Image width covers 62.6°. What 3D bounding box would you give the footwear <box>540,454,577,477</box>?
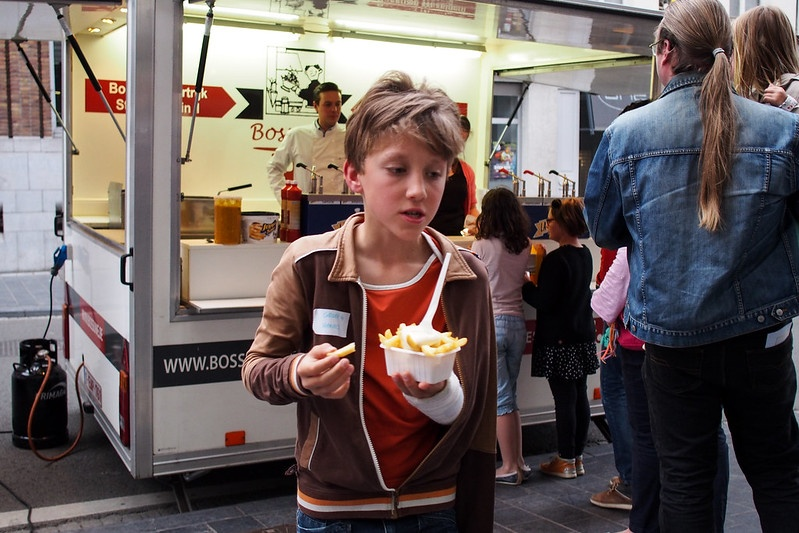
[{"bbox_3d":[1.183,1.492,4.960,0.118,0.116,0.268,-1,4,-38],"label":"footwear"}]

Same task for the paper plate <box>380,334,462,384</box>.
[{"bbox_3d":[0.065,0.276,2.020,0.169,0.074,0.135,2,5,25],"label":"paper plate"}]

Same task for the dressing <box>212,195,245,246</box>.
[{"bbox_3d":[-1.256,-0.332,4.791,0.287,0.434,0.282,-2,7,-31],"label":"dressing"}]

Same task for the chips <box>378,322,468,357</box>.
[{"bbox_3d":[0.066,0.206,2.018,0.174,0.060,0.120,1,2,-23],"label":"chips"}]
